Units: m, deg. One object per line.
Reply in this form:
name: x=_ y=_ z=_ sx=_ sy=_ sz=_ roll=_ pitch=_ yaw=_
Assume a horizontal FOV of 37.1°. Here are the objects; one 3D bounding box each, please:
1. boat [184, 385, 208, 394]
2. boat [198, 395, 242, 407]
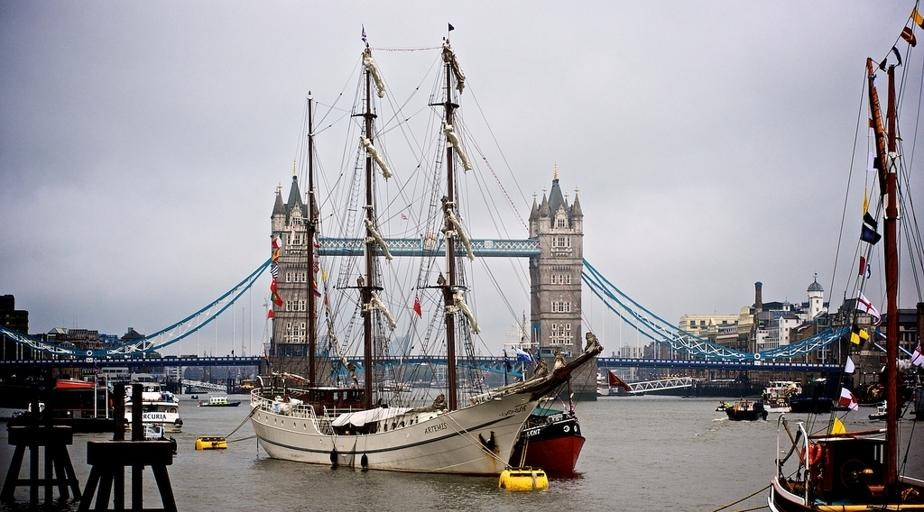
boat: x=-54.589 y=27.445 z=283.743 sx=3.683 sy=1.441 sz=13.405 roll=0 pitch=-7 yaw=-8
boat: x=-33.151 y=19.790 z=188.910 sx=4.697 sy=1.547 sz=6.706 roll=-1 pitch=-7 yaw=-3
